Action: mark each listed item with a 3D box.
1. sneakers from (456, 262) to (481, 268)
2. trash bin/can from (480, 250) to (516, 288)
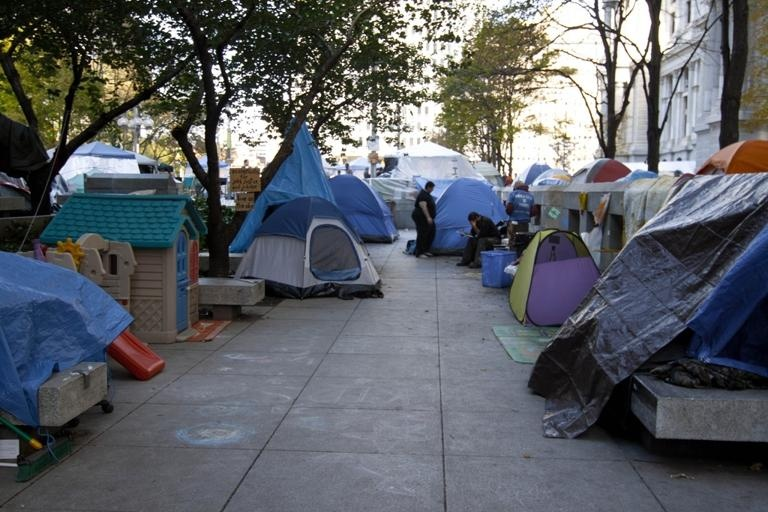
[{"bbox_3d":[2.373,0.277,18.205,0.690,0.289,0.231,-2,0,1],"label":"sneakers"},{"bbox_3d":[2.675,0.306,15.247,0.766,0.801,0.671,-3,7,-42],"label":"trash bin/can"}]
